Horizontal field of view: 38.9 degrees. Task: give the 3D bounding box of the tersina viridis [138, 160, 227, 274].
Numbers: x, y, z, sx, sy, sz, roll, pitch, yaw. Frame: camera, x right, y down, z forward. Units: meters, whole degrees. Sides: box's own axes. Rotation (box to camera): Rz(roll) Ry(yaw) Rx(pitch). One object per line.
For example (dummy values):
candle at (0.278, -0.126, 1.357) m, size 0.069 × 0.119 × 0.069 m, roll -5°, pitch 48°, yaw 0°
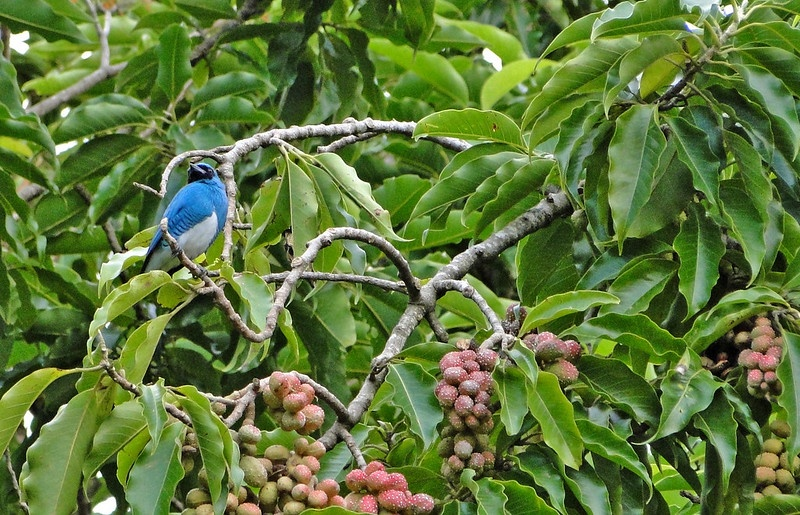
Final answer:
tersina viridis at (-1.121, -0.196, 5.889) m, size 0.459 × 0.281 × 0.611 m, roll -8°, pitch 66°, yaw 7°
